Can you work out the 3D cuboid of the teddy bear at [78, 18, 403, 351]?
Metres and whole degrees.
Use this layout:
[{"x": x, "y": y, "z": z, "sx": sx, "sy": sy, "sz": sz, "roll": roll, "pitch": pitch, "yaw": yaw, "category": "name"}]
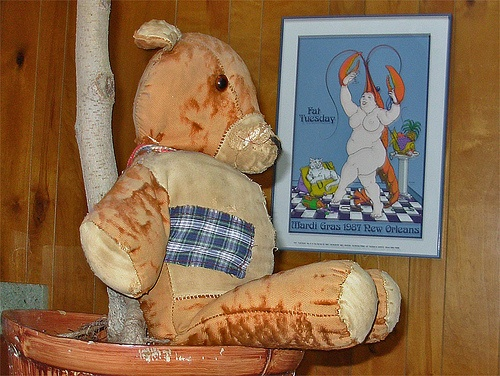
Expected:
[{"x": 0.047, "y": 0.059, "z": 2.146, "sx": 0.653, "sy": 0.935, "sz": 0.825, "roll": -3, "pitch": -6, "yaw": 13, "category": "teddy bear"}]
